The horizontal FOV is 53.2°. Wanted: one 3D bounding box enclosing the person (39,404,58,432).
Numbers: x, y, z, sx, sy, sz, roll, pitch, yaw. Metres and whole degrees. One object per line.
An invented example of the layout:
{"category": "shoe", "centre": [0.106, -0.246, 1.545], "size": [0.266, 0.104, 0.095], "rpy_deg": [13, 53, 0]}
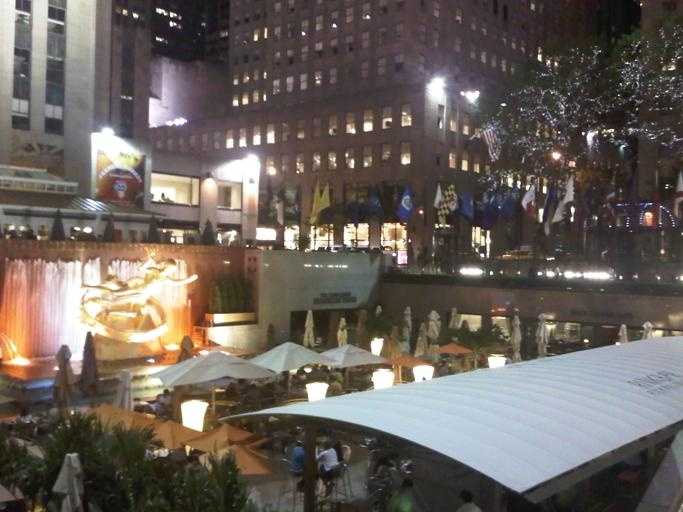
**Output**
{"category": "person", "centre": [-10.367, 5.693, 23.867], "size": [0.568, 0.389, 2.924], "rpy_deg": [0, 0, -20]}

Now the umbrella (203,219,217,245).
{"category": "umbrella", "centre": [-8.277, -1.490, 42.169], "size": [0.774, 1.543, 2.764], "rpy_deg": [0, 0, -9]}

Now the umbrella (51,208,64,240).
{"category": "umbrella", "centre": [-14.801, -1.621, 35.289], "size": [0.729, 1.614, 1.620], "rpy_deg": [0, 1, -24]}

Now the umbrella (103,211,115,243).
{"category": "umbrella", "centre": [-12.708, -1.589, 36.973], "size": [0.580, 1.541, 1.414], "rpy_deg": [0, 1, -20]}

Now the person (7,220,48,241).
{"category": "person", "centre": [-18.564, -1.553, 39.814], "size": [1.548, 1.134, 0.880], "rpy_deg": [0, -6, -6]}

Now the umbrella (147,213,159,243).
{"category": "umbrella", "centre": [-11.072, -1.632, 39.773], "size": [0.663, 1.703, 3.913], "rpy_deg": [0, 0, -16]}

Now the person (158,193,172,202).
{"category": "person", "centre": [-14.165, -4.687, 54.401], "size": [0.904, 0.775, 0.435], "rpy_deg": [0, 1, -26]}
